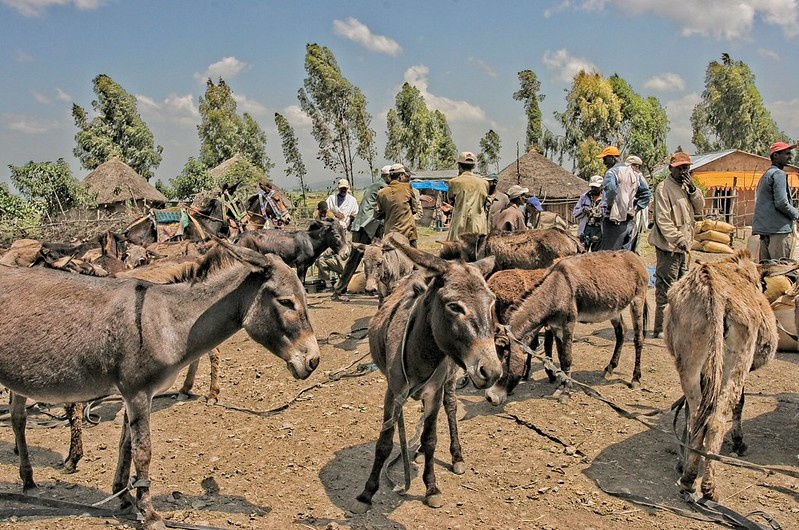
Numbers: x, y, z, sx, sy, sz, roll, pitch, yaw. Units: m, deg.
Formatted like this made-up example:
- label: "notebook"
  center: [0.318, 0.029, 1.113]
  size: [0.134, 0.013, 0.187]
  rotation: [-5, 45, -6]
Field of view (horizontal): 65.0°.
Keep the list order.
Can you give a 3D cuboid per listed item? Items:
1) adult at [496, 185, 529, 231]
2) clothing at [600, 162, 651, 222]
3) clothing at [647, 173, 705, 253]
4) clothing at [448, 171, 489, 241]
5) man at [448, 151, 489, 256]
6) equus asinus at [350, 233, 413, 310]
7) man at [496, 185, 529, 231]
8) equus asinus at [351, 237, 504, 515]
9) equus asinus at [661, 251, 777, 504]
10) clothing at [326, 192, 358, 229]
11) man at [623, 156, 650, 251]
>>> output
- label: "adult"
  center: [2.437, -1.247, 13.707]
  size: [0.682, 0.940, 1.299]
  rotation: [0, 6, 10]
- label: "clothing"
  center: [4.397, -1.389, 12.194]
  size: [0.962, 1.120, 0.401]
  rotation: [-4, 7, -25]
- label: "clothing"
  center: [5.242, -1.008, 11.859]
  size: [1.165, 1.336, 0.995]
  rotation: [-10, 10, -29]
- label: "clothing"
  center: [1.394, -0.998, 12.810]
  size: [0.859, 1.753, 0.589]
  rotation: [0, 22, 1]
- label: "man"
  center: [1.375, -1.231, 12.910]
  size: [0.837, 2.316, 0.883]
  rotation: [-7, 37, -7]
- label: "equus asinus"
  center: [-0.197, 0.172, 12.656]
  size: [0.999, 1.427, 2.921]
  rotation: [-1, 7, 14]
- label: "man"
  center: [2.433, -1.247, 13.702]
  size: [0.686, 0.940, 1.304]
  rotation: [0, 6, 10]
- label: "equus asinus"
  center: [0.252, 1.312, 7.323]
  size: [1.185, 3.242, 2.098]
  rotation: [-4, 7, -29]
- label: "equus asinus"
  center: [3.900, 1.388, 7.793]
  size: [0.991, 2.779, 1.628]
  rotation: [5, 8, 42]
- label: "clothing"
  center: [-1.591, -1.656, 17.956]
  size: [0.918, 1.140, 0.529]
  rotation: [2, -7, -24]
- label: "man"
  center: [5.296, -1.424, 13.702]
  size: [0.592, 1.852, 0.849]
  rotation: [-12, 16, 11]
